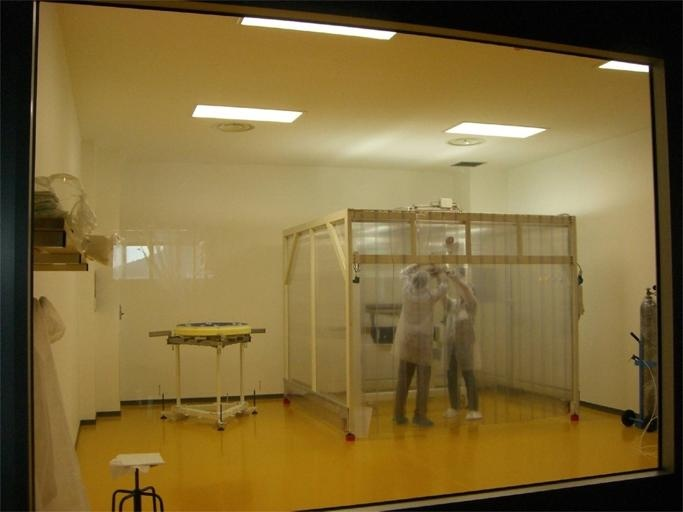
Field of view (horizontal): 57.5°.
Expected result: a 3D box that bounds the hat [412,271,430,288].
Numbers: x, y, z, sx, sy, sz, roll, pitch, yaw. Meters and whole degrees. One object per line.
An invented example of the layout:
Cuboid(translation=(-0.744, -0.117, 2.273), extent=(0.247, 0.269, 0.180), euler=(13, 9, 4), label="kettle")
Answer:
Cuboid(translation=(0.417, 0.122, 3.297), extent=(0.065, 0.096, 0.091), euler=(2, -12, -5), label="hat")
